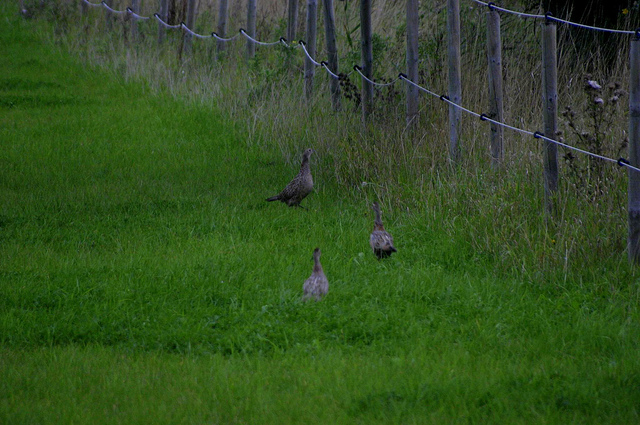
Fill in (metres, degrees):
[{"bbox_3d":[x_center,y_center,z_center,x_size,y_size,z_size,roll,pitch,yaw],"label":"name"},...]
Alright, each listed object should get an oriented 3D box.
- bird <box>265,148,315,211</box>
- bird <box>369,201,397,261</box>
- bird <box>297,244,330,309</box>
[{"bbox_3d":[-0.402,-0.438,17.714,0.727,0.850,0.442,-10,23,-25],"label":"bird"},{"bbox_3d":[0.908,0.357,16.372,0.257,0.788,0.919,2,14,-16],"label":"bird"},{"bbox_3d":[-0.040,1.005,15.828,0.281,1.035,0.631,-3,-1,10],"label":"bird"}]
